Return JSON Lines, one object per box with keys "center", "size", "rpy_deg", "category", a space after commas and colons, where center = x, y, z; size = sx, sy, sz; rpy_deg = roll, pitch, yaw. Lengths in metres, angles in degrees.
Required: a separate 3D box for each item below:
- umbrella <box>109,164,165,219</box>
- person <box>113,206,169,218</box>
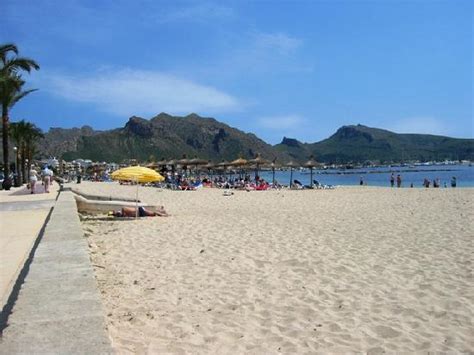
{"center": [-3.284, 0.356, 13.864], "size": [1.902, 1.793, 1.841], "rpy_deg": [1, 2, -40], "category": "umbrella"}
{"center": [-3.161, 1.154, 13.787], "size": [1.046, 0.358, 0.684], "rpy_deg": [-4, -1, -14], "category": "person"}
